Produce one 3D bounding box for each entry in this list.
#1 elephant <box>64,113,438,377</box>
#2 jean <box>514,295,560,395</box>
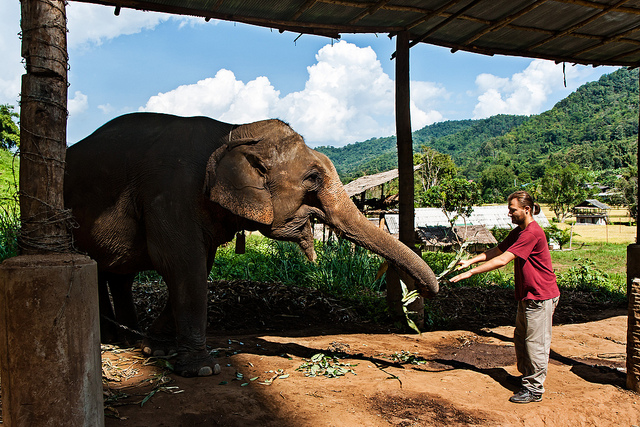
[{"bbox_3d":[-1.174,0.398,6.520,4.822,3.085,2.025,2,5,-2],"label":"elephant"},{"bbox_3d":[2.648,1.579,6.219,0.401,1.210,0.486,4,7,-9],"label":"jean"}]
